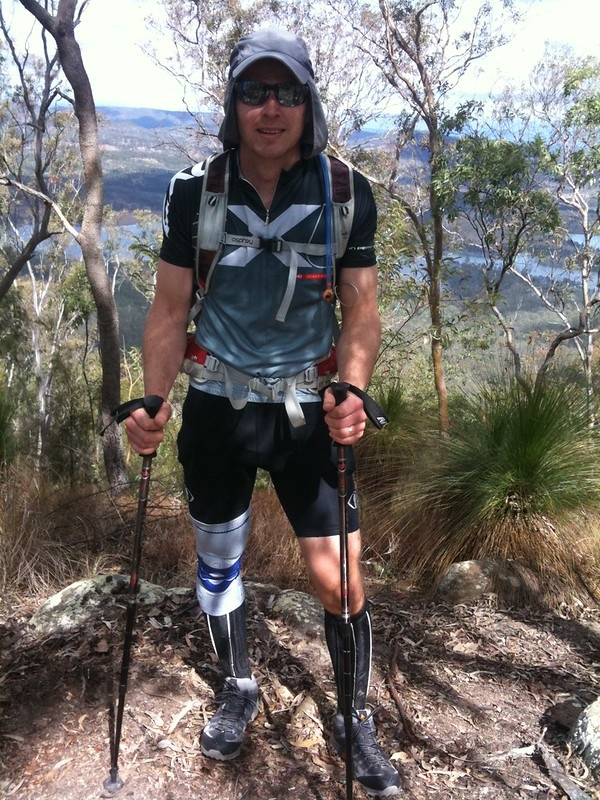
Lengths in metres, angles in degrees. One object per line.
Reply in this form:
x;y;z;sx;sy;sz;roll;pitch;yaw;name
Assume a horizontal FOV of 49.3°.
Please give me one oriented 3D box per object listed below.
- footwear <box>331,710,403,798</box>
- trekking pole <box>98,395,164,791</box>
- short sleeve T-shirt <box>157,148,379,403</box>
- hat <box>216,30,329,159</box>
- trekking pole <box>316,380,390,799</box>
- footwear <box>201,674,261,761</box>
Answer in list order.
0.175;1.054;2.032;0.117;0.162;0.339;0;4;-23;footwear
-0.500;0.478;2.007;0.140;1.116;0.669;1;16;-12;trekking pole
-0.082;-0.387;1.929;0.722;0.633;0.389;0;15;-9;short sleeve T-shirt
-0.056;-0.831;1.901;0.380;0.396;0.368;0;4;-1;hat
0.112;0.569;1.760;0.182;1.239;0.342;5;15;2;trekking pole
-0.210;1.016;2.072;0.104;0.115;0.262;8;-2;9;footwear
